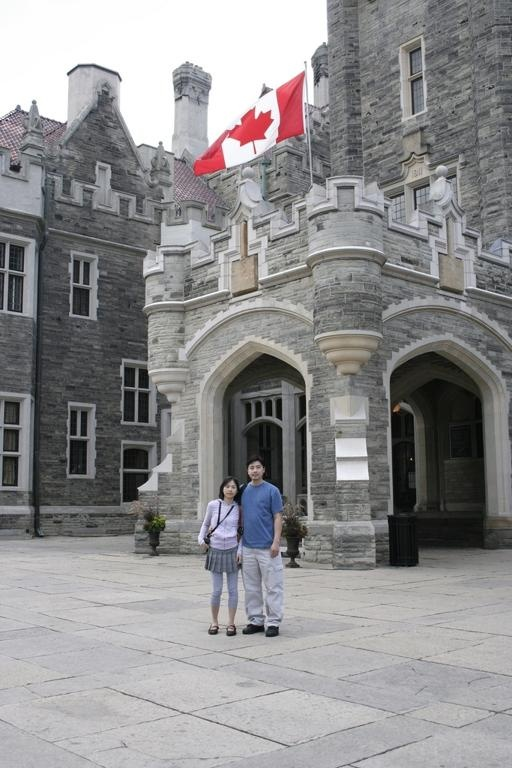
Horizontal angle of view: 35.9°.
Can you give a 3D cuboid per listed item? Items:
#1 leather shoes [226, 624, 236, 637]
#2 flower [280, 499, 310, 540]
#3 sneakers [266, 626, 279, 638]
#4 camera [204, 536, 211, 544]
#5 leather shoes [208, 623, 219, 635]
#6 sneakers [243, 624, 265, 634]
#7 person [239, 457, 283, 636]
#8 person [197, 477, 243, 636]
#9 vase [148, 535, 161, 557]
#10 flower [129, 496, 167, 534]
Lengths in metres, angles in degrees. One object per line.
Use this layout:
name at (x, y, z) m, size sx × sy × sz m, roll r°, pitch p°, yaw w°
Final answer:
leather shoes at (-0.204, 2.034, 6.520) m, size 0.062 × 0.057 × 0.179 m, roll -1°, pitch -16°, yaw 2°
flower at (0.693, 2.425, 13.990) m, size 0.426 × 0.612 × 1.205 m, roll 0°, pitch -8°, yaw 2°
sneakers at (0.133, 2.005, 6.423) m, size 0.105 × 0.077 × 0.197 m, roll 0°, pitch -8°, yaw 1°
camera at (-0.422, 1.376, 6.952) m, size 0.037 × 0.050 × 0.018 m, roll 3°, pitch -2°, yaw -17°
leather shoes at (-0.347, 2.020, 6.518) m, size 0.061 × 0.051 × 0.171 m, roll 0°, pitch -20°, yaw 0°
sneakers at (-0.002, 2.066, 6.672) m, size 0.215 × 0.090 × 0.070 m, roll 16°, pitch -25°, yaw -34°
person at (0.040, 1.380, 6.849) m, size 0.372 × 1.483 × 0.786 m, roll 1°, pitch -8°, yaw 0°
person at (-0.318, 1.483, 6.952) m, size 0.348 × 1.308 × 0.832 m, roll 1°, pitch -8°, yaw -1°
vase at (-2.045, 3.198, 15.950) m, size 0.214 × 0.477 × 0.572 m, roll 2°, pitch -8°, yaw -7°
flower at (-2.186, 2.676, 16.183) m, size 0.684 × 0.470 × 0.668 m, roll -1°, pitch 1°, yaw -2°
